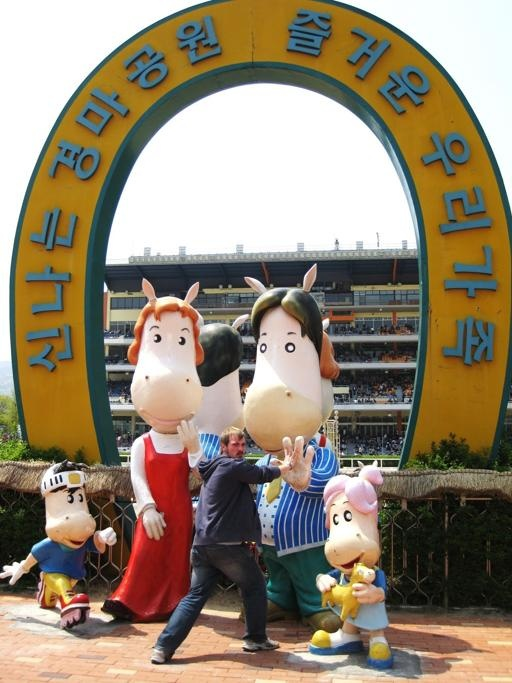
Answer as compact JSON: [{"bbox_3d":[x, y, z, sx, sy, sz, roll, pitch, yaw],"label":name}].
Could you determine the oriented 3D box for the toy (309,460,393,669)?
[{"bbox_3d":[0.669,1.527,6.009,0.554,1.224,0.759,2,0,-4],"label":"toy"}]

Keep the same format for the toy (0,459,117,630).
[{"bbox_3d":[-1.502,1.575,6.860,0.776,1.286,1.045,2,0,-25],"label":"toy"}]

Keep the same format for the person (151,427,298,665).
[{"bbox_3d":[-0.207,1.368,5.927,0.928,1.469,0.508,2,0,-6],"label":"person"}]

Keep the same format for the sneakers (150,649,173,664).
[{"bbox_3d":[-0.611,2.059,5.696,0.067,0.083,0.191,3,-12,25],"label":"sneakers"}]

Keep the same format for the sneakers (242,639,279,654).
[{"bbox_3d":[0.041,2.095,5.972,0.252,0.113,0.088,2,-6,-15],"label":"sneakers"}]
